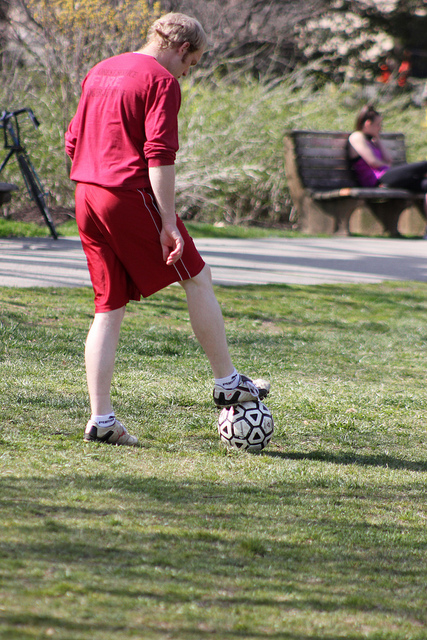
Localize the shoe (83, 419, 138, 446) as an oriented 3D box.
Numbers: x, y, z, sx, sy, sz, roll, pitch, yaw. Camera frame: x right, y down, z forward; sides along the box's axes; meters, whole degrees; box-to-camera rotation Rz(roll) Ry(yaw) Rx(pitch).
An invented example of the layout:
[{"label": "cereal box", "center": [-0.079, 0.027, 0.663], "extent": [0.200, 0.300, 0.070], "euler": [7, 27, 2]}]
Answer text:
[{"label": "shoe", "center": [-0.396, 0.439, 3.958], "extent": [0.234, 0.090, 0.079], "euler": [7, 9, -25]}]

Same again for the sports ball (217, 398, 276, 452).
[{"label": "sports ball", "center": [0.136, 0.434, 4.211], "extent": [0.222, 0.226, 0.195], "euler": [-6, 0, -10]}]

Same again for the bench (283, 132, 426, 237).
[{"label": "bench", "center": [1.764, -1.693, 12.921], "extent": [1.612, 0.931, 0.704], "euler": [-2, 5, -26]}]

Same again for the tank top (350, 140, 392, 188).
[{"label": "tank top", "center": [1.972, -1.951, 12.809], "extent": [0.351, 0.573, 0.931], "euler": [3, 10, -3]}]
